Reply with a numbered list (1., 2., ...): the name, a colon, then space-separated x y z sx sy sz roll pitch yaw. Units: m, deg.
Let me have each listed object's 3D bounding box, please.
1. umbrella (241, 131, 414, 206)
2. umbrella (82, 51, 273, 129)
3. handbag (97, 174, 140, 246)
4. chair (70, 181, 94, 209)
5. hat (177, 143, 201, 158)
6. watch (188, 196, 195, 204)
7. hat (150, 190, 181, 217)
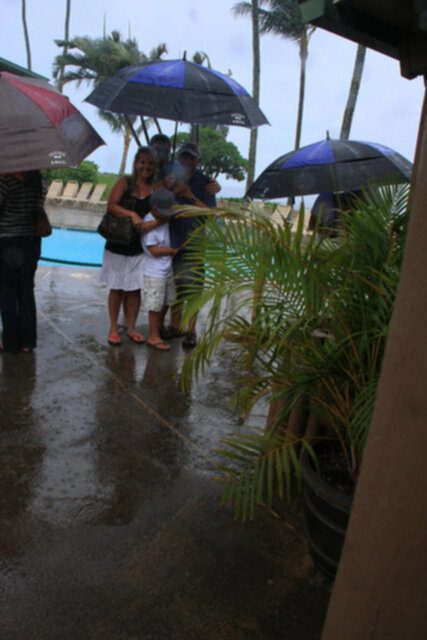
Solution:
1. umbrella: 1.180 -1.583 4.341 1.736 0.598 1.673 -3 19 15
2. umbrella: -0.395 -2.748 4.999 2.037 0.761 2.061 -13 28 -31
3. handbag: -0.910 -1.056 4.169 0.362 0.591 0.239 15 14 18
4. chair: -7.042 -6.864 22.558 0.741 1.492 1.037 7 -17 -13
5. hat: -0.242 -1.794 4.478 0.152 0.119 0.217 19 -3 3
6. watch: -0.224 -1.260 4.407 0.069 0.048 0.063 4 12 -11
7. hat: -0.497 -1.146 4.051 0.232 0.230 0.227 3 14 -9
